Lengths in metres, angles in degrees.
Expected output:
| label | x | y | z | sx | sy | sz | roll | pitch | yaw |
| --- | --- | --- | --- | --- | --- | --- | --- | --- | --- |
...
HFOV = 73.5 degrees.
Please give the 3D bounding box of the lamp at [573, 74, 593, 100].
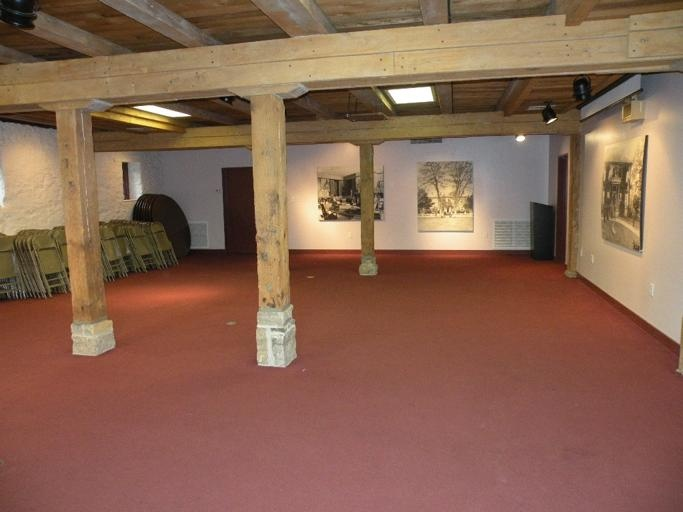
| label | x | y | z | sx | sy | sz | roll | pitch | yaw |
| --- | --- | --- | --- | --- | --- | --- | --- | --- | --- |
| lamp | 3.156 | -2.216 | 5.985 | 0.179 | 0.304 | 0.245 | 6 | 13 | 35 |
